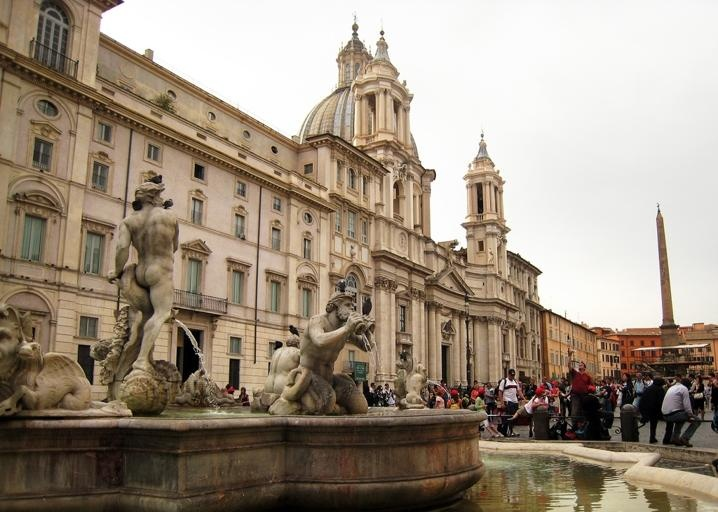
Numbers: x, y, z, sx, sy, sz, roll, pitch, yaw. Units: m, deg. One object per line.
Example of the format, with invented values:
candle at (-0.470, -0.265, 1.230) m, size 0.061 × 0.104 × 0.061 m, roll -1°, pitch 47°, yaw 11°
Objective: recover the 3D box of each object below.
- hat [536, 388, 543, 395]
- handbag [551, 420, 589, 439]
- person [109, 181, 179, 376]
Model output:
hat at (5.067, 3.838, 18.289) m, size 0.232 × 0.234 × 0.225 m, roll -7°, pitch -4°, yaw 11°
handbag at (5.430, 4.566, 17.027) m, size 0.696 × 0.448 × 0.461 m, roll 3°, pitch -15°, yaw 4°
person at (-3.594, 0.318, 10.904) m, size 1.045 × 3.498 × 0.609 m, roll 8°, pitch -2°, yaw 11°
